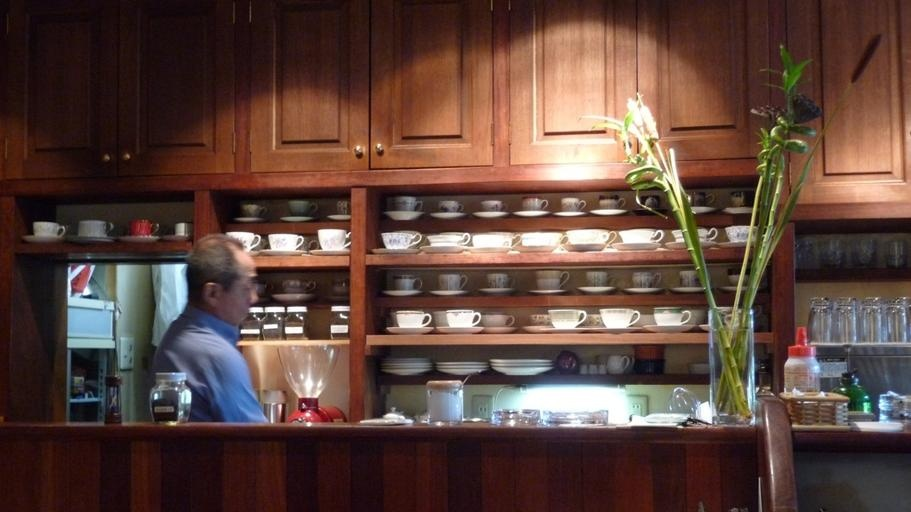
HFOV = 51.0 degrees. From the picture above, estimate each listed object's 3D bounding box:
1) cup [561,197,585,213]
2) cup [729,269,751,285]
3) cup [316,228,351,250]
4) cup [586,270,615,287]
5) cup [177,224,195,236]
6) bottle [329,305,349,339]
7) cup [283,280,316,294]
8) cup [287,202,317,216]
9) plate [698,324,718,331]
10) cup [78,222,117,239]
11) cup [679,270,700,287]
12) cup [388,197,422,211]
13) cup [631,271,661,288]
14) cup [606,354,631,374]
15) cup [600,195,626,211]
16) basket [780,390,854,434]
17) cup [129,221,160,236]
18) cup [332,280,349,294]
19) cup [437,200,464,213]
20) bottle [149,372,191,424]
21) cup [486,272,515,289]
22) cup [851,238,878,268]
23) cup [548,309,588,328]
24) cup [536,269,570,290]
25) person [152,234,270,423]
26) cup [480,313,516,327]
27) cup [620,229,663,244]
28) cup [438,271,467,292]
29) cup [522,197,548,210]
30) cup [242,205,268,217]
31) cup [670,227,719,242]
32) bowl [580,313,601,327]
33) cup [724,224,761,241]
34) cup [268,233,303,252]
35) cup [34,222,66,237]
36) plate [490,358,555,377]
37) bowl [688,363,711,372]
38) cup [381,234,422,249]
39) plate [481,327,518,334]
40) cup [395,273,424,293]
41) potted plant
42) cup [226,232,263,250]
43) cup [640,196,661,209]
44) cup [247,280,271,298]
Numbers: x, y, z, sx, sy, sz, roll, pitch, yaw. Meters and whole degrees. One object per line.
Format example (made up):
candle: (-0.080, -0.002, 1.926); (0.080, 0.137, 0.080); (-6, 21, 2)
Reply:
cup: (0.662, -0.287, 5.407); (0.124, 0.072, 0.084); (2, -6, -5)
cup: (1.478, 0.109, 4.982); (0.103, 0.071, 0.102); (1, -10, 0)
cup: (-0.673, -0.093, 5.291); (0.167, 0.092, 0.125); (1, -3, -1)
cup: (0.816, 0.126, 5.403); (0.134, 0.079, 0.091); (1, -7, 5)
cup: (-1.517, -0.144, 5.370); (0.083, 0.050, 0.076); (1, -1, 0)
bottle: (-0.643, 0.358, 5.319); (0.093, 0.184, 0.158); (1, -11, -11)
cup: (-0.902, 0.178, 5.532); (0.138, 0.051, 0.097); (1, -6, -4)
cup: (-0.893, -0.268, 5.548); (0.136, 0.059, 0.091); (1, -7, -18)
plate: (1.209, 0.341, 4.578); (0.119, 0.025, 0.108); (1, -6, -4)
cup: (-2.032, -0.150, 5.435); (0.189, 0.084, 0.127); (3, -9, -7)
cup: (1.286, 0.123, 5.256); (0.096, 0.075, 0.112); (-1, -6, 1)
cup: (-0.274, -0.292, 5.447); (0.149, 0.056, 0.109); (2, -8, -13)
cup: (1.068, 0.137, 5.337); (0.150, 0.084, 0.087); (5, -19, -11)
cup: (0.907, 0.602, 5.364); (0.144, 0.086, 0.084); (-2, -6, 9)
cup: (0.893, -0.300, 5.382); (0.139, 0.077, 0.080); (1, -8, -8)
basket: (1.438, 0.666, 4.050); (0.389, 0.133, 0.256); (6, -9, -29)
cup: (-1.761, -0.153, 5.437); (0.134, 0.072, 0.078); (3, -13, -26)
cup: (-0.651, 0.178, 5.451); (0.091, 0.057, 0.082); (1, -2, 1)
cup: (-0.019, -0.283, 5.429); (0.112, 0.042, 0.079); (2, -7, -7)
bottle: (-1.233, 0.609, 4.116); (0.169, 0.221, 0.120); (1, -12, -14)
cup: (0.249, 0.138, 5.404); (0.128, 0.075, 0.088); (2, -11, -2)
cup: (2.271, -0.014, 5.299); (0.168, 0.155, 0.152); (1, -7, -1)
cup: (0.613, 0.342, 5.185); (0.124, 0.066, 0.155); (-3, -8, 28)
cup: (0.551, 0.133, 5.418); (0.170, 0.087, 0.106); (2, -8, -2)
person: (-1.139, 0.327, 4.451); (0.505, 0.876, 0.237); (2, -12, -15)
cup: (0.243, 0.358, 5.305); (0.147, 0.052, 0.093); (2, -7, -7)
cup: (1.010, -0.104, 5.172); (0.164, 0.051, 0.128); (0, -5, 6)
cup: (-0.015, 0.149, 5.442); (0.145, 0.085, 0.105); (2, -9, -9)
cup: (0.454, -0.293, 5.400); (0.114, 0.055, 0.079); (0, -3, 7)
cup: (-1.171, -0.263, 5.532); (0.109, 0.041, 0.072); (3, -8, -18)
cup: (1.310, -0.118, 5.179); (0.214, 0.068, 0.167); (-1, -6, 4)
bowl: (0.757, 0.356, 5.319); (0.081, 0.049, 0.078); (0, -2, 0)
cup: (1.526, -0.116, 5.092); (0.171, 0.069, 0.156); (1, -4, 0)
cup: (-0.949, -0.079, 5.358); (0.185, 0.128, 0.124); (0, -11, -7)
cup: (-2.315, -0.152, 5.441); (0.151, 0.059, 0.103); (2, -7, -15)
plate: (0.371, 0.627, 5.353); (0.353, 0.093, 0.114); (-2, -11, 4)
bowl: (1.352, 0.622, 5.298); (0.101, 0.039, 0.095); (1, -5, 0)
cup: (-0.303, -0.089, 5.267); (0.171, 0.060, 0.105); (0, -4, 3)
plate: (0.239, 0.411, 5.313); (0.200, 0.038, 0.109); (1, -11, -14)
cup: (-0.257, 0.157, 5.452); (0.146, 0.080, 0.087); (0, -9, -4)
potted plant: (1.304, -0.198, 4.414); (1.063, 1.888, 1.483); (-3, -11, 9)
cup: (-1.180, -0.089, 5.403); (0.218, 0.083, 0.133); (2, -6, -3)
cup: (1.086, -0.298, 5.337); (0.118, 0.096, 0.055); (1, -23, 4)
cup: (-1.059, 0.179, 5.137); (0.148, 0.090, 0.135); (-1, -1, 6)
